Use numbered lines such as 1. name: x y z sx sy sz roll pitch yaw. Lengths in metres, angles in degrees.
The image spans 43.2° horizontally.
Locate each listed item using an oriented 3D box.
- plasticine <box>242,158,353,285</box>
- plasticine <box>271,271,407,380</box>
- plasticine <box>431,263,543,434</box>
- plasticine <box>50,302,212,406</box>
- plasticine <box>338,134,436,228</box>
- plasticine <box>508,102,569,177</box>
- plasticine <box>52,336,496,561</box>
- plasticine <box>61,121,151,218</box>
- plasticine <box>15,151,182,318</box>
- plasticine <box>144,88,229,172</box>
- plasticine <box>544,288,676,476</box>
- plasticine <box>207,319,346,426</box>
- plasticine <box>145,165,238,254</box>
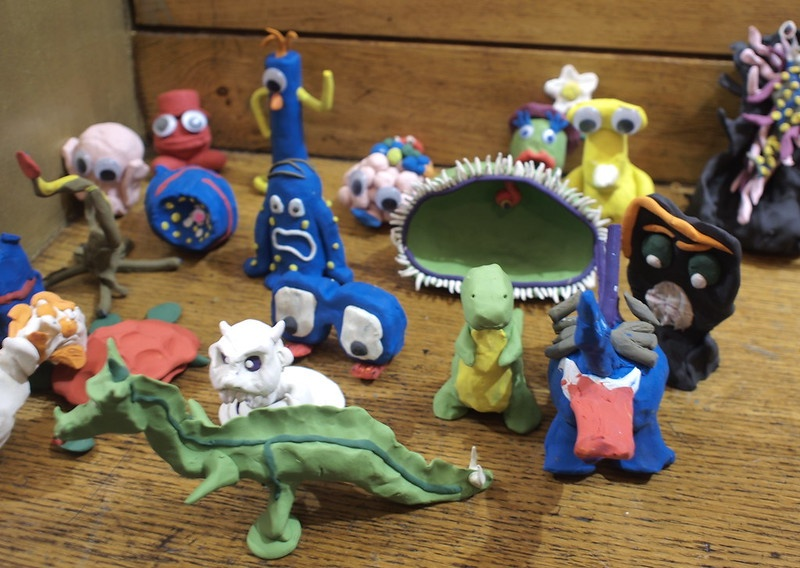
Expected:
1. plasticine: -0.302 -0.170 2.970 0.322 0.342 0.198 11 32 12
2. plasticine: -0.183 0.102 2.800 0.389 0.240 0.150 17 33 21
3. plasticine: 0.252 0.120 2.671 0.277 0.394 0.432 7 36 18
4. plasticine: -0.700 0.145 2.809 0.303 0.090 0.230 17 23 23
5. plasticine: -0.026 -0.363 3.237 0.261 0.195 0.358 21 52 23
6. plasticine: 0.453 -0.464 3.302 0.219 0.238 0.242 6 5 0
7. plasticine: -0.302 0.359 2.551 1.082 0.463 0.449 -1 26 -4
8. plasticine: -0.930 -0.366 3.218 0.294 0.300 0.191 21 32 11
9. plasticine: -0.875 -0.192 2.892 0.391 0.482 0.386 12 46 7
10. plasticine: -0.686 -0.485 3.291 0.304 0.382 0.231 -6 12 -15
11. plasticine: 0.510 0.235 2.487 0.331 0.485 0.463 -2 19 8
12. plasticine: -0.281 0.195 2.510 0.252 0.224 0.318 8 19 25
13. plasticine: -0.649 -0.250 3.157 0.220 0.222 0.292 -11 46 -11
